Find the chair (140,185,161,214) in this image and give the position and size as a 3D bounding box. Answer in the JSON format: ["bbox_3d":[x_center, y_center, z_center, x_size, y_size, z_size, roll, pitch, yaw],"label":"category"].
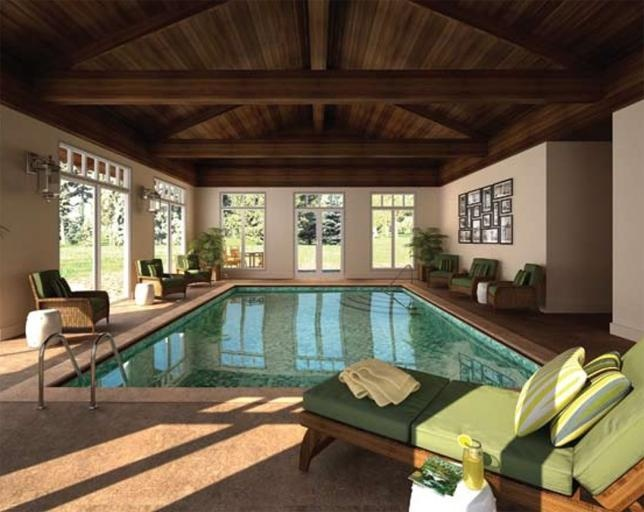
[{"bbox_3d":[-4.169,-1.366,10.203,0.347,0.646,0.902,-3,2,-11],"label":"chair"}]

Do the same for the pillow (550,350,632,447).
[{"bbox_3d":[1.740,0.939,2.654,0.402,0.466,0.642,0,3,44],"label":"pillow"}]

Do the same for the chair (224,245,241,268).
[{"bbox_3d":[-2.908,0.040,13.882,0.707,0.831,0.665,0,-1,-4],"label":"chair"}]

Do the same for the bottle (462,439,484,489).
[{"bbox_3d":[0.826,1.128,2.277,0.105,0.257,0.135,-1,2,18],"label":"bottle"}]

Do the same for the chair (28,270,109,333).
[{"bbox_3d":[-3.776,0.698,6.472,1.115,0.945,1.075,1,0,-6],"label":"chair"}]

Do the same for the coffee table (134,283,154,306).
[{"bbox_3d":[-3.647,0.809,8.641,0.456,0.400,0.437,0,-5,-4],"label":"coffee table"}]

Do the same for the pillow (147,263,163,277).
[{"bbox_3d":[-3.793,0.336,9.458,0.092,0.256,0.294,-14,-9,30],"label":"pillow"}]
